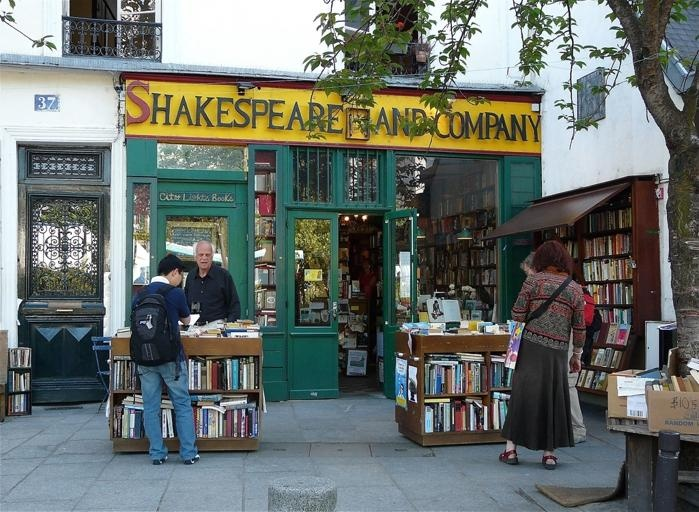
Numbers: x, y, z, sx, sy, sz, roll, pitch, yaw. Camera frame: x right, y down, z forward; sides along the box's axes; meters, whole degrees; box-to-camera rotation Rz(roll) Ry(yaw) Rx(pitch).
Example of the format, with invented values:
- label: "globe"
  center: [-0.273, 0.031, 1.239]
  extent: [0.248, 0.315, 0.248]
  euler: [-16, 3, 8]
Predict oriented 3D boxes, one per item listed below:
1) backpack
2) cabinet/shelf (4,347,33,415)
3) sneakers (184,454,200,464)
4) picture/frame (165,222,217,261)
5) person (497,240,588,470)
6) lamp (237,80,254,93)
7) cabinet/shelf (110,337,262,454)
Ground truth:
- label: "backpack"
  center: [-2.024, 0.723, 8.214]
  extent: [0.480, 0.833, 0.238]
  euler: [0, 3, -13]
- label: "cabinet/shelf"
  center: [-4.490, 1.707, 10.684]
  extent: [0.316, 0.861, 0.442]
  euler: [-1, 3, -24]
- label: "sneakers"
  center: [-1.651, 2.156, 8.352]
  extent: [0.059, 0.072, 0.167]
  euler: [2, 6, 13]
- label: "picture/frame"
  center: [-2.246, -0.197, 10.969]
  extent: [0.567, 0.490, 0.047]
  euler: [2, -8, -19]
- label: "person"
  center: [2.026, 0.938, 8.225]
  extent: [0.803, 2.131, 0.352]
  euler: [1, 3, 9]
- label: "lamp"
  center: [-1.527, -2.471, 11.573]
  extent: [0.209, 0.081, 0.165]
  euler: [-8, 9, 5]
- label: "cabinet/shelf"
  center: [-1.836, 1.535, 8.578]
  extent: [1.303, 0.962, 0.463]
  euler: [0, -5, -10]
